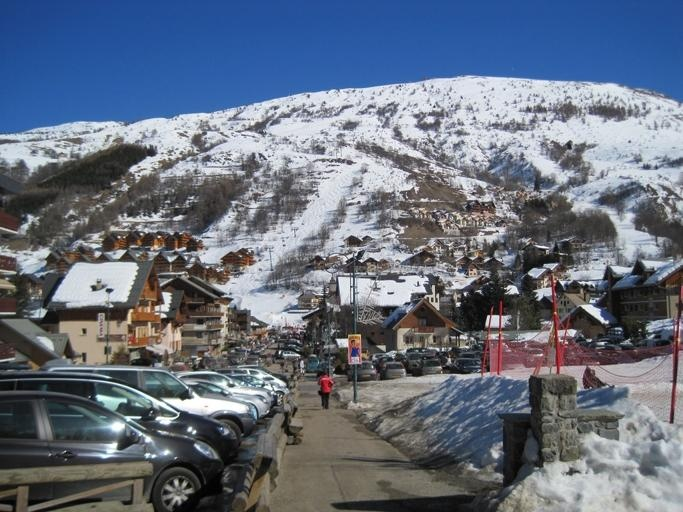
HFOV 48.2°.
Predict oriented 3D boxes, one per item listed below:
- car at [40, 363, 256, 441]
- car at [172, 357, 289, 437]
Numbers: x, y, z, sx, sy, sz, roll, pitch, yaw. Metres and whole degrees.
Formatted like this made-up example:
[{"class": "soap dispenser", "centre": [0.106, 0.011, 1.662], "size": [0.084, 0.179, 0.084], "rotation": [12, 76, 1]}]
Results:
[{"class": "car", "centre": [-4.896, 4.136, 20.387], "size": [5.272, 2.077, 2.435], "rotation": [1, -2, -14]}, {"class": "car", "centre": [-4.287, 5.126, 27.547], "size": [4.525, 1.792, 2.134], "rotation": [-1, -1, -1]}]
